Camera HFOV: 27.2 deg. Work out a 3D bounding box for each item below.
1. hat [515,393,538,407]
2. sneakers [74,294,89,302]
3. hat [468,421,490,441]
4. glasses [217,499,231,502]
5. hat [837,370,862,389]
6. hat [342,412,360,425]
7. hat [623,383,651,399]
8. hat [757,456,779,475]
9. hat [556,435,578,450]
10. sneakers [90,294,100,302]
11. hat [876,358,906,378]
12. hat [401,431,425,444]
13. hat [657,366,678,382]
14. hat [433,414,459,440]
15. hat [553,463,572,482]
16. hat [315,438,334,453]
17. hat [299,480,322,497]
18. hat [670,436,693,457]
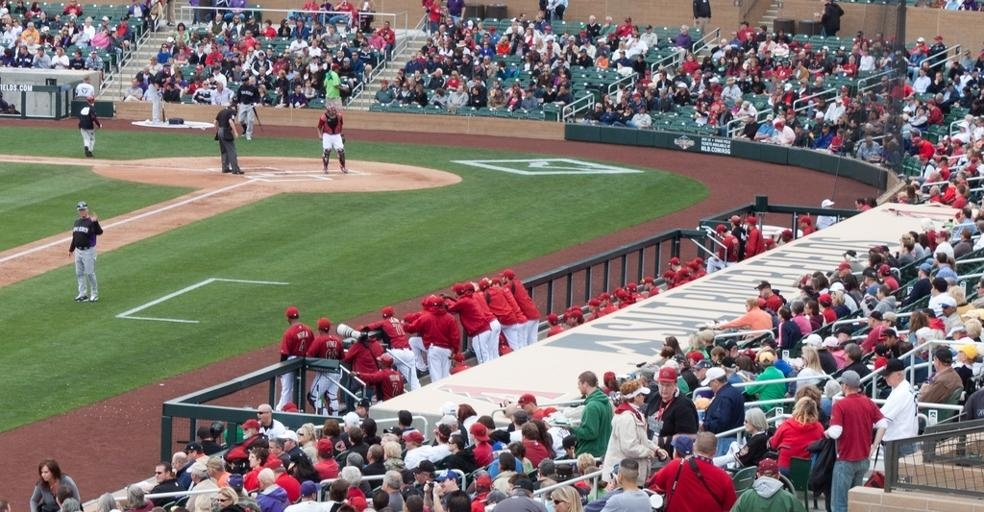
[{"bbox_3d":[0.980,4.206,57.918,0.563,0.213,0.339,8,16,19],"label":"hat"},{"bbox_3d":[-13.353,1.424,66.464,0.582,0.193,0.161,1,41,-3],"label":"sneakers"},{"bbox_3d":[-0.360,5.002,56.799,0.537,0.510,0.336,3,9,-3],"label":"hat"},{"bbox_3d":[-7.272,6.782,55.326,0.343,0.110,0.057,5,9,21],"label":"glasses"},{"bbox_3d":[9.832,3.466,56.037,0.506,0.473,0.485,4,8,4],"label":"hat"},{"bbox_3d":[-4.034,4.759,58.040,0.434,0.178,0.335,28,25,36],"label":"hat"},{"bbox_3d":[3.981,3.847,56.662,0.781,0.469,0.750,2,8,-4],"label":"hat"},{"bbox_3d":[7.424,5.769,54.843,0.550,0.450,0.541,4,8,3],"label":"hat"},{"bbox_3d":[2.142,5.347,57.004,0.565,0.217,0.355,-18,21,-18],"label":"hat"},{"bbox_3d":[-12.930,1.449,66.441,0.345,0.203,0.551,2,1,-4],"label":"sneakers"},{"bbox_3d":[11.081,3.165,56.308,0.489,0.523,0.378,6,9,12],"label":"hat"},{"bbox_3d":[-2.194,5.211,57.109,0.651,0.230,0.346,9,13,7],"label":"hat"},{"bbox_3d":[4.792,3.322,56.078,0.477,0.418,0.310,4,9,6],"label":"hat"},{"bbox_3d":[-1.268,4.896,57.136,0.618,0.322,0.711,-4,23,-7],"label":"hat"},{"bbox_3d":[1.960,6.023,55.576,0.498,0.427,0.380,3,8,-1],"label":"hat"},{"bbox_3d":[-4.662,5.343,56.793,0.404,0.258,0.459,-3,9,-36],"label":"hat"},{"bbox_3d":[-4.979,6.488,55.687,0.436,0.555,0.661,4,8,2],"label":"hat"},{"bbox_3d":[5.161,5.242,55.347,0.579,0.304,0.691,-10,29,-19],"label":"hat"}]
